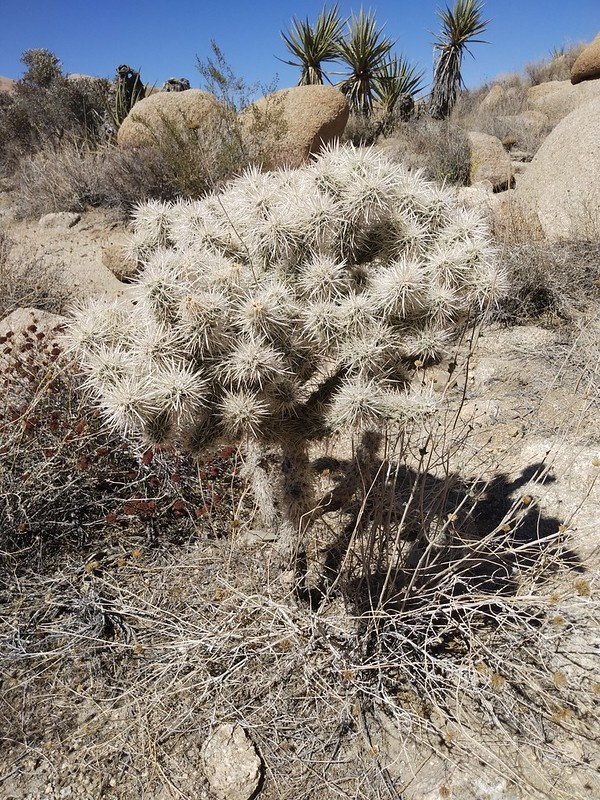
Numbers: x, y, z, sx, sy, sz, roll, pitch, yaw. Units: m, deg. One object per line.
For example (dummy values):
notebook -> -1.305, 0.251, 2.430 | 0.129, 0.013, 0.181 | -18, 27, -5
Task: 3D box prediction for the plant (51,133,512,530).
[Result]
plant -> -0.050, -0.099, 3.065 | 1.852, 1.854, 1.464 | -5, 30, -7
